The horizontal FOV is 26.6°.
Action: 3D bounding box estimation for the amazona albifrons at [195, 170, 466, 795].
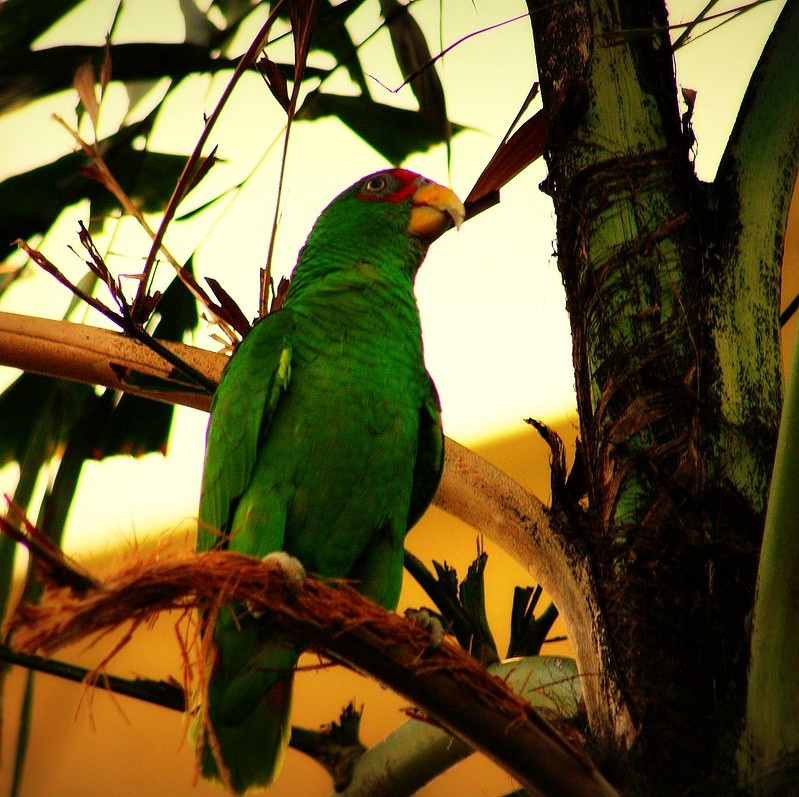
[{"bbox_3d":[-0.143,0.035,3.368,0.403,1.480,0.607,-4,9,-21],"label":"amazona albifrons"}]
